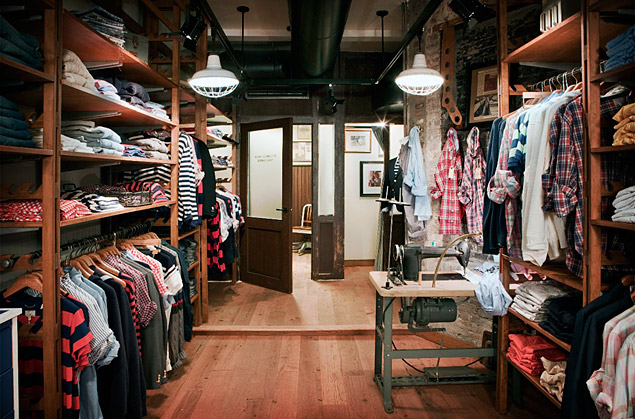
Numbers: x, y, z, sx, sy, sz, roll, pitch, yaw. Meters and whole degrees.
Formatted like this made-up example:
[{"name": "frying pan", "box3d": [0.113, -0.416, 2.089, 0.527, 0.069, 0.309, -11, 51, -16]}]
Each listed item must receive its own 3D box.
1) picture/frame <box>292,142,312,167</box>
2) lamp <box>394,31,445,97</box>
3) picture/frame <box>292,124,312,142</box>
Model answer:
[{"name": "picture/frame", "box3d": [-0.281, -1.062, 8.608, 0.318, 0.439, 0.146, -1, 12, -5]}, {"name": "lamp", "box3d": [0.960, -1.379, 4.206, 0.419, 0.610, 0.437, 2, 10, 14]}, {"name": "picture/frame", "box3d": [-0.261, -1.369, 8.175, 0.310, 0.318, 0.577, -1, 12, -5]}]
